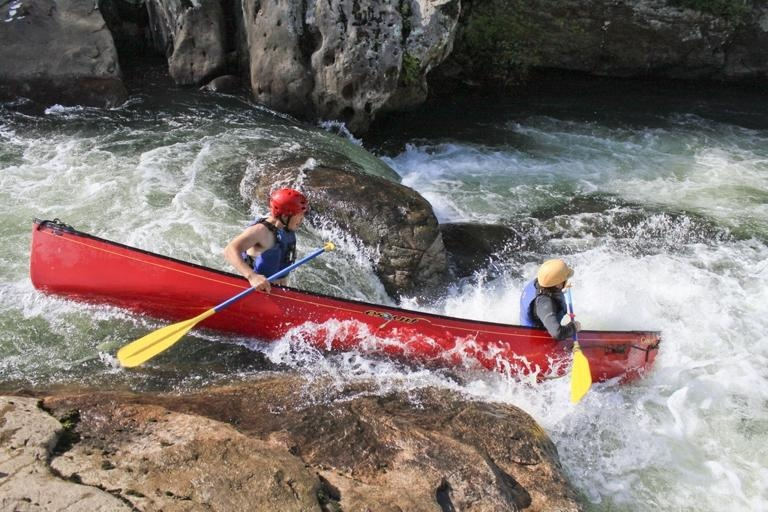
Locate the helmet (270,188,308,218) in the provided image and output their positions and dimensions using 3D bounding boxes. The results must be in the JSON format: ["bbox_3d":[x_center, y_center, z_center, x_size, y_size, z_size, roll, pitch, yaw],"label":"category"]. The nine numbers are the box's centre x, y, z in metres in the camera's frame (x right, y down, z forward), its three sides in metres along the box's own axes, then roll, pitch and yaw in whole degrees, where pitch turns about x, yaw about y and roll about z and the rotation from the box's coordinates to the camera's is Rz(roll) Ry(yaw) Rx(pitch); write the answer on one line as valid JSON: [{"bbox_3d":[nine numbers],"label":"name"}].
[{"bbox_3d":[-1.324,-0.696,10.081,0.455,0.335,0.296,1,-13,4],"label":"helmet"}]

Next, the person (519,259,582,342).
[{"bbox_3d":[2.419,0.699,10.559,0.406,0.560,1.004,-21,-21,6],"label":"person"}]

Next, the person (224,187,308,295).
[{"bbox_3d":[-1.711,-0.145,10.531,0.545,1.493,0.907,28,39,0],"label":"person"}]

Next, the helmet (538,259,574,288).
[{"bbox_3d":[2.374,0.253,10.106,0.464,0.244,0.327,-36,44,-10],"label":"helmet"}]

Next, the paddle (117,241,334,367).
[{"bbox_3d":[-2.295,0.739,10.098,3.216,0.342,0.219,-29,-3,-16],"label":"paddle"}]
